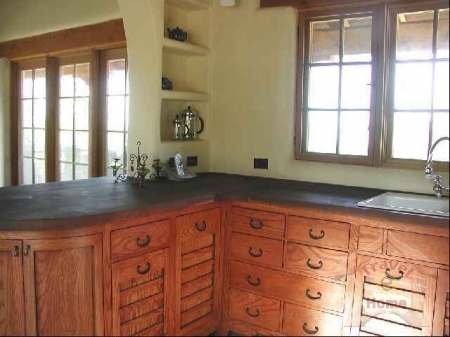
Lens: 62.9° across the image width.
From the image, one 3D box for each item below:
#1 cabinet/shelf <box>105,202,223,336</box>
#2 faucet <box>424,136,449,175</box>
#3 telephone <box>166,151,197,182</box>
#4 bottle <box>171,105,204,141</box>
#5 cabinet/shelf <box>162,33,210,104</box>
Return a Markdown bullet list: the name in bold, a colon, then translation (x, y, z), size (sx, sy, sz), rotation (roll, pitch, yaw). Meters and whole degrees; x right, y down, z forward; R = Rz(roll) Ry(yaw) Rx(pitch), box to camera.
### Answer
- **cabinet/shelf**: translation (-0.422, 0.639, 2.377), size (0.341, 0.908, 0.965), rotation (2, 5, 40)
- **faucet**: translation (1.487, -0.083, 2.579), size (0.118, 0.301, 0.419), rotation (7, 12, 28)
- **telephone**: translation (-0.349, 0.017, 3.150), size (0.291, 0.203, 0.213), rotation (17, 1, 35)
- **bottle**: translation (-0.364, -0.436, 3.514), size (0.159, 0.318, 0.303), rotation (11, 14, 39)
- **cabinet/shelf**: translation (-0.372, -0.943, 3.413), size (0.250, 0.600, 0.695), rotation (2, 0, 44)
